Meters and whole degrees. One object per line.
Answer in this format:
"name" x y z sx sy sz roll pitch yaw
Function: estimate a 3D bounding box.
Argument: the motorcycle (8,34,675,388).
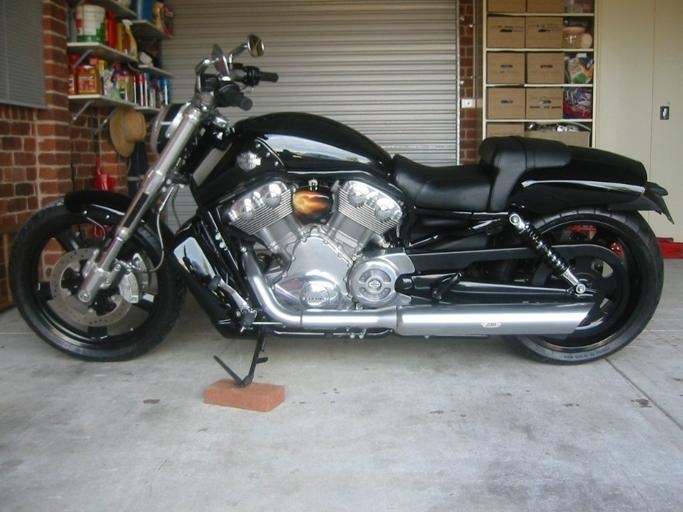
"motorcycle" -0.059 -0.150 2.615 3.217 1.146 0.781 0 11 4
